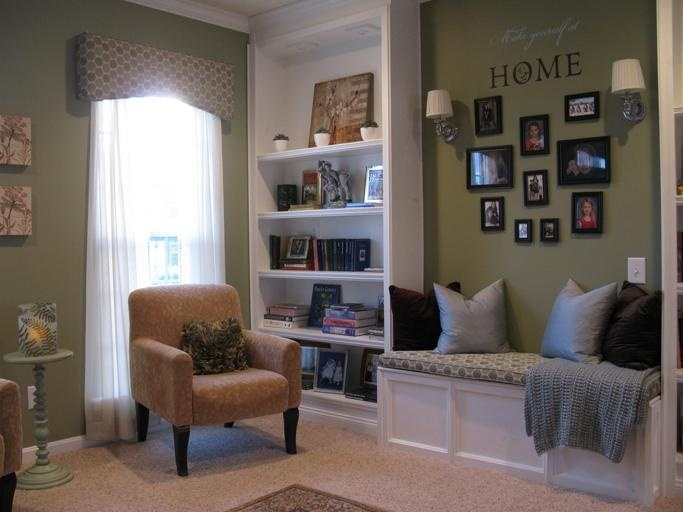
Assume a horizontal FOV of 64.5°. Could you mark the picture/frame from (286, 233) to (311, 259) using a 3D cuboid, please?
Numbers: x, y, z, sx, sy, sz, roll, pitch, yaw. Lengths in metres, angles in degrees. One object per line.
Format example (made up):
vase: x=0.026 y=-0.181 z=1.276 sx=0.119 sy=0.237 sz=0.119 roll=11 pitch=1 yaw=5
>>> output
picture/frame: x=-0.383 y=-0.079 z=4.858 sx=0.202 sy=0.210 sz=0.020 roll=-9 pitch=-24 yaw=42

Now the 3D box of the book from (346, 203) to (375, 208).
book: x=0.146 y=-0.400 z=4.299 sx=0.089 sy=0.035 sz=0.311 roll=-5 pitch=5 yaw=-37

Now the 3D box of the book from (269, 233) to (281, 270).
book: x=-0.610 y=-0.032 z=4.919 sx=0.101 sy=0.302 sz=0.301 roll=-1 pitch=-3 yaw=8

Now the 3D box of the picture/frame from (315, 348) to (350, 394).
picture/frame: x=-0.091 y=0.953 z=4.554 sx=0.274 sy=0.394 sz=0.047 roll=4 pitch=11 yaw=-7

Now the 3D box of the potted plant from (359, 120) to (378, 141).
potted plant: x=0.218 y=-0.970 z=4.314 sx=0.141 sy=0.175 sz=0.139 roll=-3 pitch=-4 yaw=43

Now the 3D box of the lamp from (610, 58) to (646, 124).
lamp: x=1.788 y=-1.015 z=3.362 sx=0.192 sy=0.370 sz=0.269 roll=1 pitch=5 yaw=30

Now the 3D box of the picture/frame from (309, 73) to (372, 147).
picture/frame: x=0.015 y=-1.229 z=4.598 sx=0.712 sy=0.770 sz=0.060 roll=-1 pitch=-4 yaw=39

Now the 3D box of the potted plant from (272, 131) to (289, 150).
potted plant: x=-0.545 y=-1.025 z=4.880 sx=0.142 sy=0.185 sz=0.157 roll=-4 pitch=-4 yaw=34

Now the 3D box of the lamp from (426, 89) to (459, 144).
lamp: x=0.744 y=-1.027 z=4.034 sx=0.190 sy=0.358 sz=0.213 roll=3 pitch=7 yaw=43

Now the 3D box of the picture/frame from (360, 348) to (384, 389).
picture/frame: x=0.264 y=0.910 z=4.420 sx=0.234 sy=0.335 sz=0.031 roll=8 pitch=-1 yaw=-23

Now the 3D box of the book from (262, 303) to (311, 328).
book: x=-0.464 y=0.536 z=4.807 sx=0.274 sy=0.143 sz=0.221 roll=-3 pitch=-6 yaw=43

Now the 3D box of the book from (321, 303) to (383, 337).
book: x=0.049 y=0.490 z=4.446 sx=0.283 sy=0.175 sz=0.282 roll=-1 pitch=-1 yaw=-41
